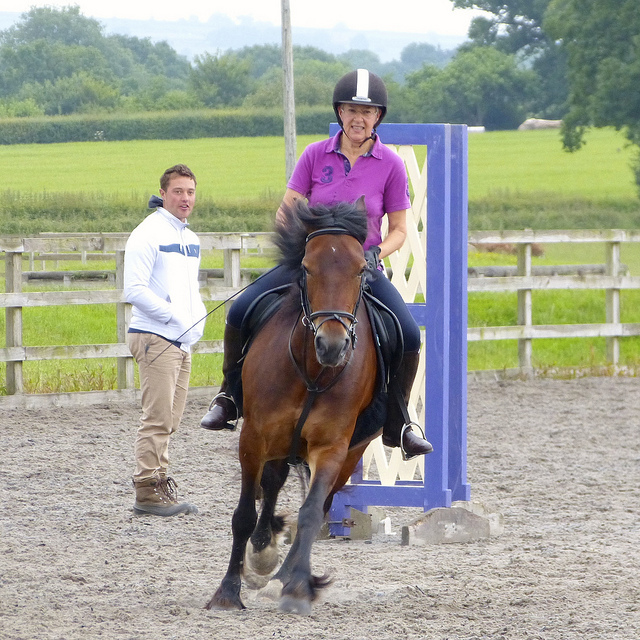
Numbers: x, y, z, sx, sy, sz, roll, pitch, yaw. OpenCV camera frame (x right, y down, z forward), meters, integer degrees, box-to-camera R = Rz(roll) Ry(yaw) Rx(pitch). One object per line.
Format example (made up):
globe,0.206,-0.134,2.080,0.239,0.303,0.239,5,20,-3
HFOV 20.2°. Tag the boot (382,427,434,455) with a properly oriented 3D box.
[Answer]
boot,1.316,1.867,28.313,0.898,0.489,0.340,3,6,37

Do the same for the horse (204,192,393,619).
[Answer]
horse,-0.186,1.307,27.654,2.470,6.396,1.087,-1,2,3
